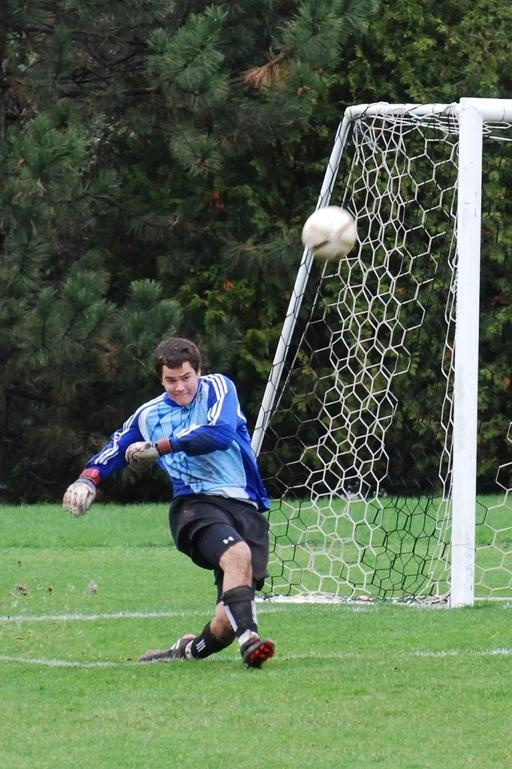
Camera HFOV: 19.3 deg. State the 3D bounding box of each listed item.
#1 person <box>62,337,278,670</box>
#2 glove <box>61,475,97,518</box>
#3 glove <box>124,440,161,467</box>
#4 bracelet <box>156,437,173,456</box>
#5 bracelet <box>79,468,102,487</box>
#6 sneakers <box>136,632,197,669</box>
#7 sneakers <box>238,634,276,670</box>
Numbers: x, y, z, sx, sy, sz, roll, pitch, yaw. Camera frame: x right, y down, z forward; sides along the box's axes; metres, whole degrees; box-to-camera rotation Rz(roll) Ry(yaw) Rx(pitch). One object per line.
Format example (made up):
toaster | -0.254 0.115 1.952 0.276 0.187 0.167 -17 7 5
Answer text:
person | -0.264 0.512 6.903 1.042 1.443 0.624 2 4 27
glove | -0.804 0.514 6.936 0.126 0.176 0.187 1 3 -2
glove | -0.513 0.305 6.853 0.149 0.103 0.245 0 3 -5
bracelet | -0.402 0.276 6.747 0.048 0.072 0.056 -8 41 -17
bracelet | -0.766 0.428 7.012 0.078 0.071 0.090 -21 -32 -20
sneakers | -0.401 1.181 6.814 0.271 0.093 0.195 0 3 -13
sneakers | 0.003 1.142 6.527 0.078 0.108 0.221 -3 -37 -30
